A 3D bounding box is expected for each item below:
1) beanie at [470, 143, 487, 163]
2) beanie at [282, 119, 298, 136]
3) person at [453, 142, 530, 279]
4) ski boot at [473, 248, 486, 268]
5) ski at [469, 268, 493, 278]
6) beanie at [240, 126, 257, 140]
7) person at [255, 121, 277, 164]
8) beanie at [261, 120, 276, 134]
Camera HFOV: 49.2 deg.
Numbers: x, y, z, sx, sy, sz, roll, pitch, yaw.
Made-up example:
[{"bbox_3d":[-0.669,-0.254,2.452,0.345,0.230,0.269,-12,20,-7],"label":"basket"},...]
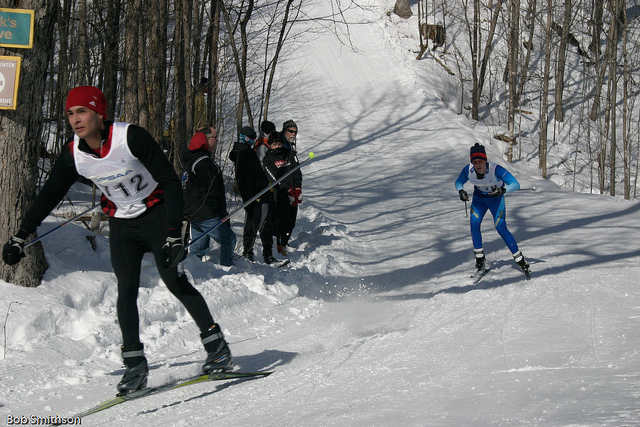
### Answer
[{"bbox_3d":[2.963,-1.150,13.130,0.257,0.395,0.402,-1,14,13],"label":"beanie"},{"bbox_3d":[-0.632,-1.857,15.037,0.252,0.320,0.346,-2,-14,-20],"label":"beanie"},{"bbox_3d":[3.226,-0.075,13.372,1.432,2.553,0.908,3,15,27],"label":"person"},{"bbox_3d":[3.088,0.874,13.505,0.183,0.415,0.325,-1,14,14],"label":"ski boot"},{"bbox_3d":[3.102,1.152,13.407,0.234,0.047,0.093,-27,52,-24],"label":"ski"},{"bbox_3d":[-1.551,-1.757,14.971,0.286,0.240,0.257,22,6,10],"label":"beanie"},{"bbox_3d":[-1.170,-1.494,14.903,0.380,1.199,0.597,-2,46,-16],"label":"person"},{"bbox_3d":[-1.163,-1.872,15.383,0.273,0.313,0.863,-6,14,-6],"label":"beanie"}]
